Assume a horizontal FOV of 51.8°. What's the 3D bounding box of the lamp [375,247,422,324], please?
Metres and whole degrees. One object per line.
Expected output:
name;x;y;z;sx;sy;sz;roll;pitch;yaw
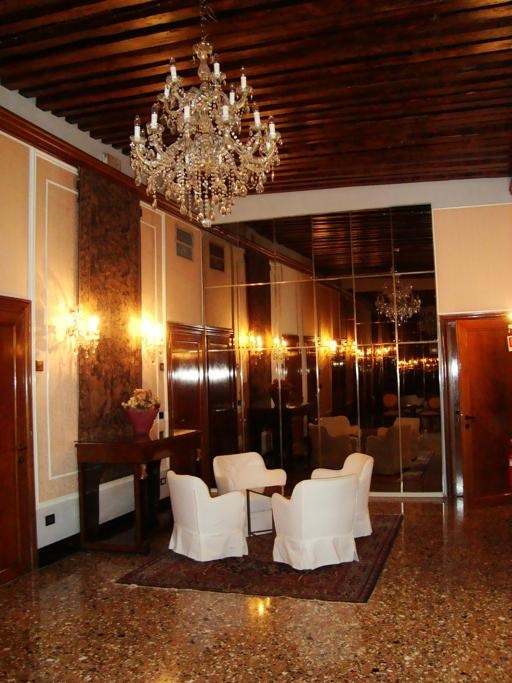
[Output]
lamp;1.931;-0.748;7.220;0.564;0.986;0.553;-7;7;12

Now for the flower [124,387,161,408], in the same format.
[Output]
flower;-1.199;0.607;5.584;0.246;0.159;0.251;3;-1;-11

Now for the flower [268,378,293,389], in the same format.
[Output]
flower;0.359;0.599;7.566;0.324;0.125;0.041;-6;-8;28

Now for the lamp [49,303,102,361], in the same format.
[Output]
lamp;-1.733;-0.143;5.066;0.098;0.420;0.414;-5;-5;42

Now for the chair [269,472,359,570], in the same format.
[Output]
chair;0.502;1.498;4.581;0.629;0.756;0.646;-1;0;-34

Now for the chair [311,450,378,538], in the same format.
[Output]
chair;0.851;1.569;5.394;0.691;0.789;0.682;-1;-4;15

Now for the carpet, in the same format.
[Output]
carpet;0.088;1.902;4.614;2.081;0.030;1.725;-4;-7;18

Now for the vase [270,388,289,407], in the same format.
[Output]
vase;0.339;0.811;7.583;0.249;0.240;0.261;8;-14;-34

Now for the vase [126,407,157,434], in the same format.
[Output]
vase;-1.200;0.795;5.521;0.275;0.244;0.326;2;-1;-8

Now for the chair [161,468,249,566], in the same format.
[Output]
chair;-0.425;1.550;4.899;0.675;0.761;0.680;0;0;-12

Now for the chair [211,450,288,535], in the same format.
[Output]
chair;-0.040;1.712;5.844;0.718;0.847;0.782;-4;-9;-10
